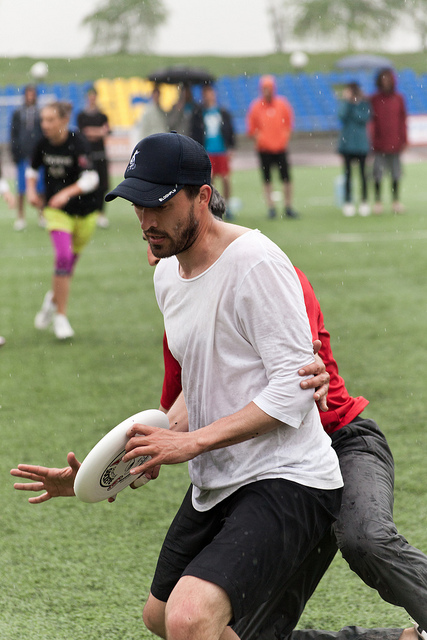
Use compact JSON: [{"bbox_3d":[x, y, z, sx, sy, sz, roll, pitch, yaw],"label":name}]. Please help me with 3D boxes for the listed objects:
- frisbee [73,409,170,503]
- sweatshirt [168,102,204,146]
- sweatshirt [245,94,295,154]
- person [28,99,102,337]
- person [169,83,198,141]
[{"bbox_3d":[-0.242,0.334,1.842,0.238,0.065,0.238,-46,-8,22],"label":"frisbee"},{"bbox_3d":[-0.316,-2.257,9.264,0.410,0.450,0.716,-4,10,-2],"label":"sweatshirt"},{"bbox_3d":[0.694,-2.383,9.865,0.503,0.717,0.748,-3,11,3],"label":"sweatshirt"},{"bbox_3d":[-0.870,-0.655,4.855,0.392,1.318,1.646,-6,11,-10],"label":"person"},{"bbox_3d":[-0.351,-2.365,9.182,0.321,0.620,0.978,-4,10,-2],"label":"person"}]
